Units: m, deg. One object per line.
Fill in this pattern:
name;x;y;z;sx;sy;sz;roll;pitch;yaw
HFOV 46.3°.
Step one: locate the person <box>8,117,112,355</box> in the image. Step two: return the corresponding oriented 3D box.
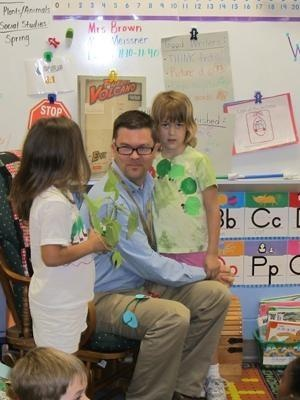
person;-0.263;0.103;1.041;0.245;0.702;0.303;-3;4;-31
